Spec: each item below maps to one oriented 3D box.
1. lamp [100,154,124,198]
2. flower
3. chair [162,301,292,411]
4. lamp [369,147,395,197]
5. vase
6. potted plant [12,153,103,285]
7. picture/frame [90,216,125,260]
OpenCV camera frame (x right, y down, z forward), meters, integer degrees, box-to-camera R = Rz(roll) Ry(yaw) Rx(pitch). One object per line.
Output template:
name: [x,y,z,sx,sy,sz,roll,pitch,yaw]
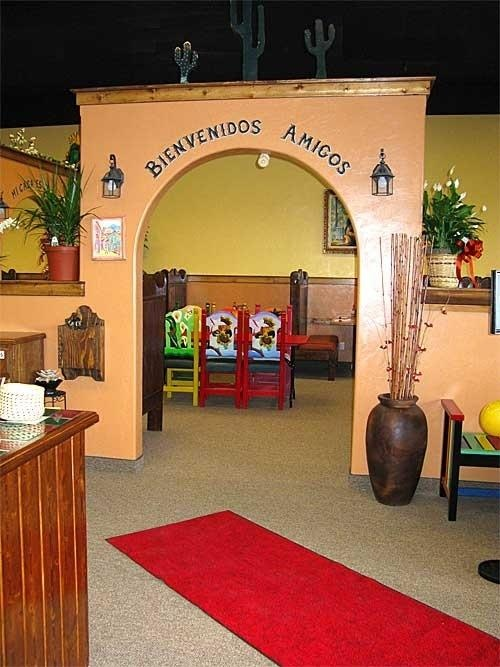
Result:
lamp: [-0.932,-1.066,3.806,0.165,0.294,0.157,1,3,-1]
flower: [1.233,-0.735,3.645,0.471,0.607,0.528,-6,23,14]
chair: [-0.222,0.227,6.409,1.448,1.061,1.028,1,3,6]
lamp: [0.817,-1.007,3.496,0.145,0.298,0.155,2,3,13]
vase: [0.861,0.701,3.341,0.344,0.662,0.196,2,3,11]
potted plant: [-1.448,-0.747,4.056,0.547,0.739,0.757,-7,2,17]
picture/frame: [-0.962,-0.659,3.886,0.298,0.338,0.021,3,7,12]
